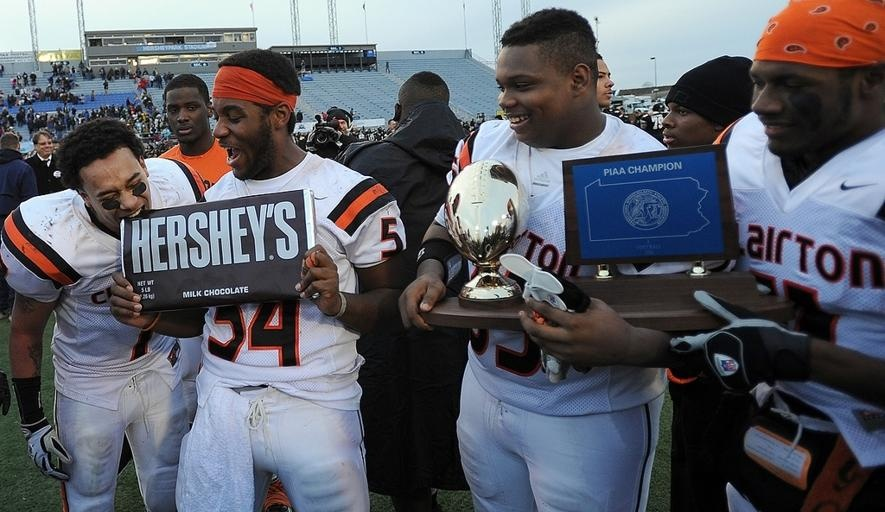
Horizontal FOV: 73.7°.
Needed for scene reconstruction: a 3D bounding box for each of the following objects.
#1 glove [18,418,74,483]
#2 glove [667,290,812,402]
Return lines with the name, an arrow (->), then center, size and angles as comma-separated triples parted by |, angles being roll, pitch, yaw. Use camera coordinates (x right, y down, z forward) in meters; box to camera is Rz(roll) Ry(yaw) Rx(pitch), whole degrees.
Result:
glove -> -1.991, 0.990, 3.083 | 0.347, 0.213, 0.157 | 35, 19, 9
glove -> 1.023, 0.306, 2.030 | 0.437, 0.331, 0.130 | 2, 15, 19
